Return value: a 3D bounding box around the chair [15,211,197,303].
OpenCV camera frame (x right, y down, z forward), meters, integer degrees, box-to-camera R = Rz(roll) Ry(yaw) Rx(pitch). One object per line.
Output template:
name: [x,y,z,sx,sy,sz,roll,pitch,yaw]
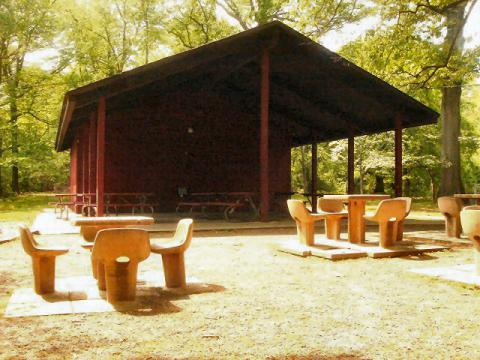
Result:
chair: [-1.382,0.770,5.738,1.397,0.609,1.372,0,0,9]
